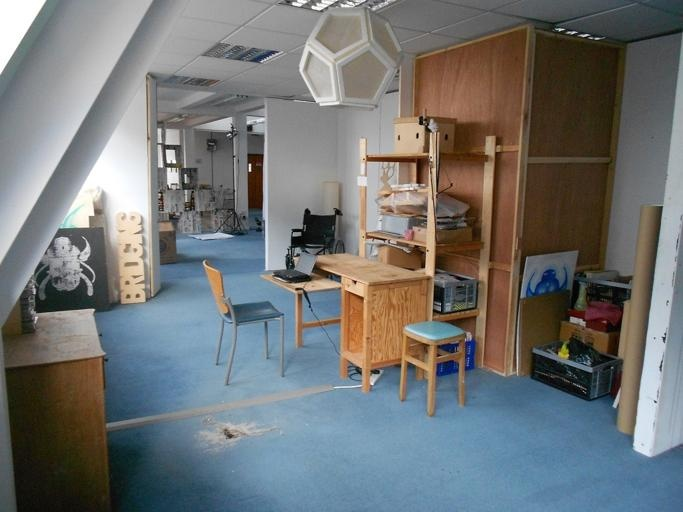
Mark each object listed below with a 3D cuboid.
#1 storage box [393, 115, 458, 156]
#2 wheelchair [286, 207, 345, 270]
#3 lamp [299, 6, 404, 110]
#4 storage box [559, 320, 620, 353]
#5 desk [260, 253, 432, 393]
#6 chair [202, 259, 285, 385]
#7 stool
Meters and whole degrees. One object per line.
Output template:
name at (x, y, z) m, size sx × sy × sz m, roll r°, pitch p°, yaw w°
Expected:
storage box at (0.824, -1.098, 4.795) m, size 0.470 × 0.297 × 0.464 m, roll -4°, pitch 9°, yaw -27°
wheelchair at (-0.645, -0.405, 8.548) m, size 0.759 × 1.141 × 1.136 m, roll 1°, pitch 1°, yaw 16°
lamp at (0.053, -1.129, 2.943) m, size 0.573 × 0.523 × 0.621 m, roll 2°, pitch 14°, yaw 3°
storage box at (2.437, 0.860, 4.760) m, size 0.315 × 0.344 × 0.495 m, roll -3°, pitch 9°, yaw -36°
desk at (-0.009, 0.604, 4.902) m, size 1.142 × 1.003 × 1.505 m, roll -2°, pitch 7°, yaw -34°
chair at (-0.931, 0.608, 4.680) m, size 0.707 × 1.041 × 0.610 m, roll -2°, pitch 8°, yaw -20°
stool at (0.785, 0.938, 4.156) m, size 0.554 × 0.650 × 0.585 m, roll 2°, pitch 7°, yaw 13°
